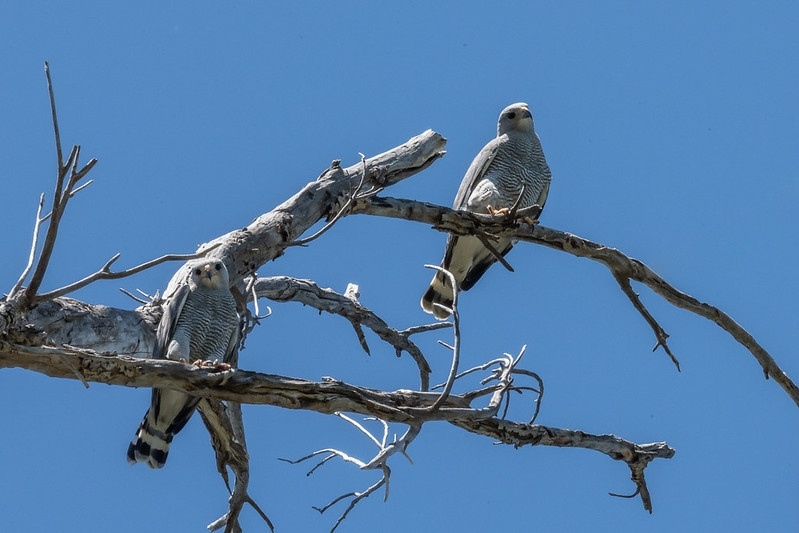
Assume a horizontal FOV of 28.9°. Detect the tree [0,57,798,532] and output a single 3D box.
[{"bbox_3d":[-0.836,0.308,12.395,4.409,1.656,4.367,1,-21,-33],"label":"tree"}]
